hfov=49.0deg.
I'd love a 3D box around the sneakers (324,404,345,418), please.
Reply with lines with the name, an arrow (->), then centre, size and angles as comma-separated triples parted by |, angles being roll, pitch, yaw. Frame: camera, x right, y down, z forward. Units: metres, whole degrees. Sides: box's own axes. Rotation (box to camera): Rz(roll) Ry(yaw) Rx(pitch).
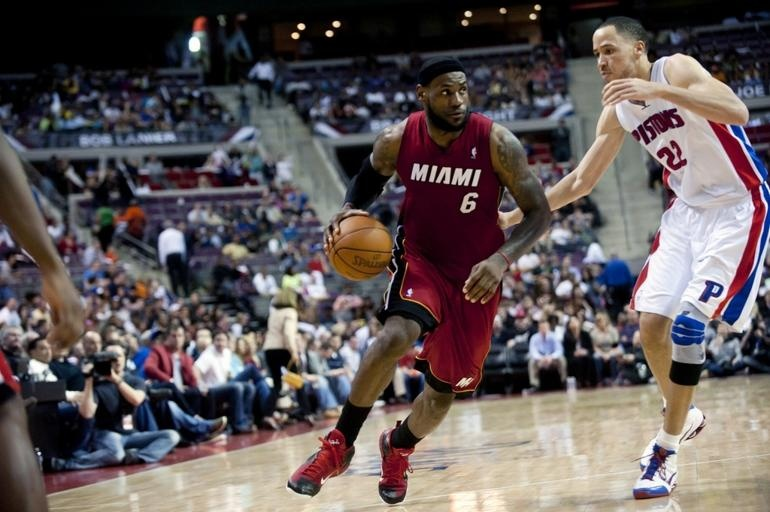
sneakers -> -0.804, 2.304, 12.613 | 0.283, 0.161, 0.550 | -3, -3, -5

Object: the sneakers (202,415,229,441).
sneakers -> -2.093, 2.111, 10.429 | 0.170, 0.256, 0.352 | -4, -3, 18

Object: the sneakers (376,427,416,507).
sneakers -> 0.092, 1.693, 6.863 | 0.198, 0.586, 0.249 | 11, -34, -18
